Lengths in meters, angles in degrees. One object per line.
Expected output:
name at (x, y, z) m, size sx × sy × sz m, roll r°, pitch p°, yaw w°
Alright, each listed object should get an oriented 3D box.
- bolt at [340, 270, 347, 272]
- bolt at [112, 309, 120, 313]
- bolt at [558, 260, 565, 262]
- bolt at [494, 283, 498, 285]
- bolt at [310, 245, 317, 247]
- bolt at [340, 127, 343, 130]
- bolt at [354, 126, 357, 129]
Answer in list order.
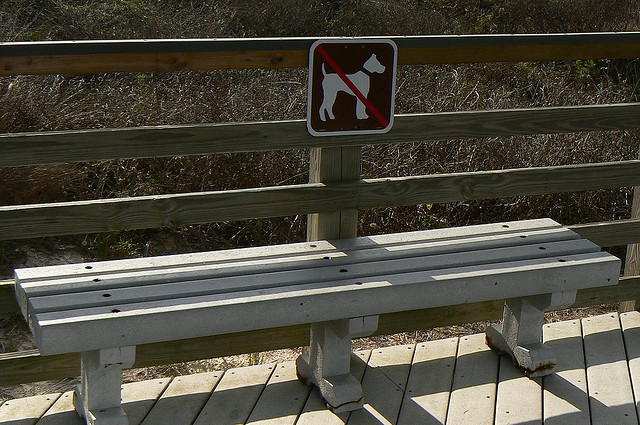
bolt at (0.108, 0.267, 2.408) m, size 0.033 × 0.004 × 0.021 m, roll -7°, pitch 21°, yaw -9°
bolt at (-0.791, 0.383, 2.052) m, size 0.025 × 0.004 × 0.026 m, roll -12°, pitch 23°, yaw -20°
bolt at (1.176, 0.237, 2.578) m, size 0.025 × 0.001 × 0.025 m, roll -3°, pitch 21°, yaw 1°
bolt at (0.823, 0.333, 2.466) m, size 0.014 × 0.008 × 0.001 m, roll -10°, pitch 21°, yaw -17°
bolt at (-0.034, 0.167, 2.618) m, size 0.030 × 0.005 × 0.021 m, roll -6°, pitch 21°, yaw -7°
bolt at (0.104, -0.404, 2.551) m, size 0.012 × 0.011 × 0.003 m, roll -2°, pitch 5°, yaw -4°
bolt at (0.172, -0.413, 2.562) m, size 0.015 × 0.010 × 0.004 m, roll 2°, pitch 6°, yaw 3°
